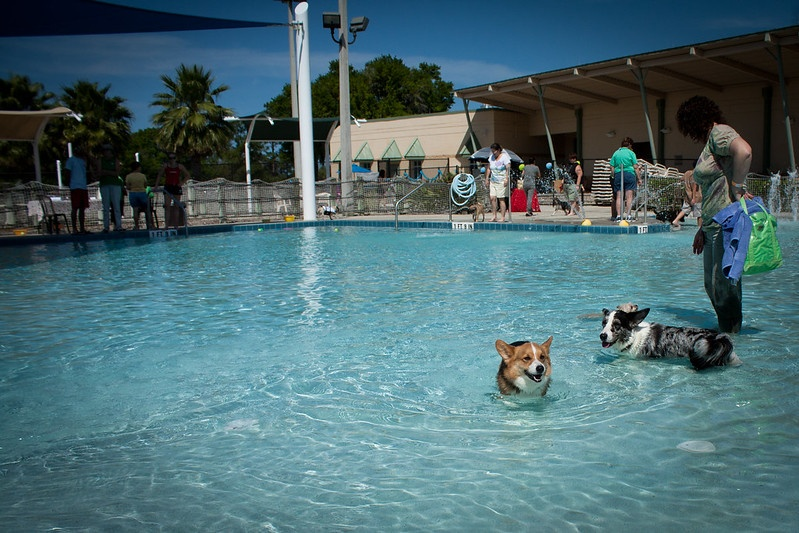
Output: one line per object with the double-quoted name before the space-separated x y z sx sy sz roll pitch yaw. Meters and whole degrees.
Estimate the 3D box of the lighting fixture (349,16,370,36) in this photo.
"lighting fixture" -1.352 -8.097 18.562 0.641 0.633 1.567 -3 11 -4

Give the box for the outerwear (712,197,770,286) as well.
"outerwear" 2.720 -0.232 4.474 0.528 0.594 0.230 5 -5 21

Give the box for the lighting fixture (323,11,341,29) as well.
"lighting fixture" -2.302 -8.340 18.700 0.532 0.418 0.369 -5 12 -14
